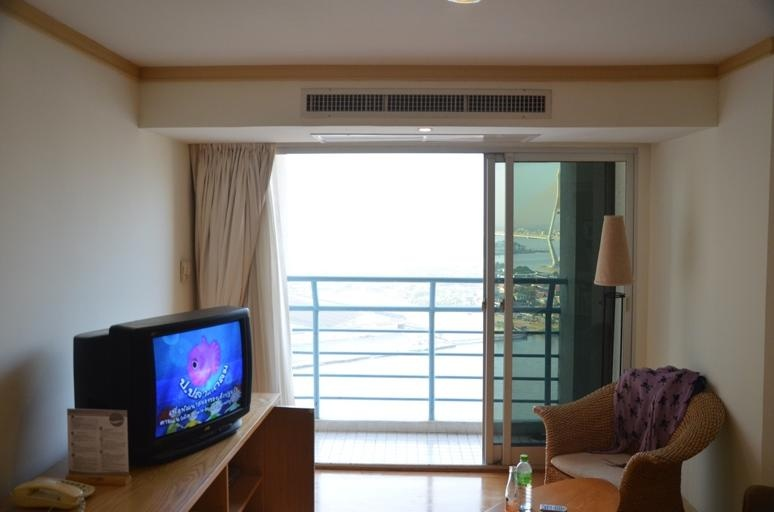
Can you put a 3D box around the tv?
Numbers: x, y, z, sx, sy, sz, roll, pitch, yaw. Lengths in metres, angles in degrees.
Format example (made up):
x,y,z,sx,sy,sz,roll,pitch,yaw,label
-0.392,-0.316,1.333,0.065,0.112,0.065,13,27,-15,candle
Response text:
x,y,z,sx,sy,sz,roll,pitch,yaw,label
-1.326,0.627,3.666,0.780,0.797,0.971,-1,-2,22,tv
